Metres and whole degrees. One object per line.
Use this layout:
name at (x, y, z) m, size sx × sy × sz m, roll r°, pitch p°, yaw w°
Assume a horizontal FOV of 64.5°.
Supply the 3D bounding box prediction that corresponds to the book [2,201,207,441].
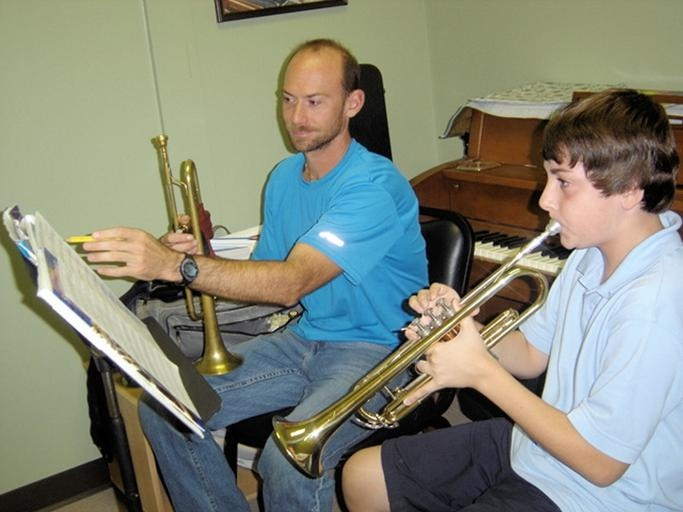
book at (-0.548, 0.129, 1.247) m, size 0.270 × 0.532 × 0.456 m, roll -16°, pitch 20°, yaw -30°

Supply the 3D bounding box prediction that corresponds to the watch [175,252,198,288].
watch at (-0.424, 0.041, 1.502) m, size 0.054 × 0.078 × 0.080 m, roll -2°, pitch 17°, yaw -26°

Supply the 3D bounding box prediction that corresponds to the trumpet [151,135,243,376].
trumpet at (-0.493, 0.071, 1.863) m, size 0.347 × 1.042 × 0.314 m, roll -11°, pitch 28°, yaw -35°
